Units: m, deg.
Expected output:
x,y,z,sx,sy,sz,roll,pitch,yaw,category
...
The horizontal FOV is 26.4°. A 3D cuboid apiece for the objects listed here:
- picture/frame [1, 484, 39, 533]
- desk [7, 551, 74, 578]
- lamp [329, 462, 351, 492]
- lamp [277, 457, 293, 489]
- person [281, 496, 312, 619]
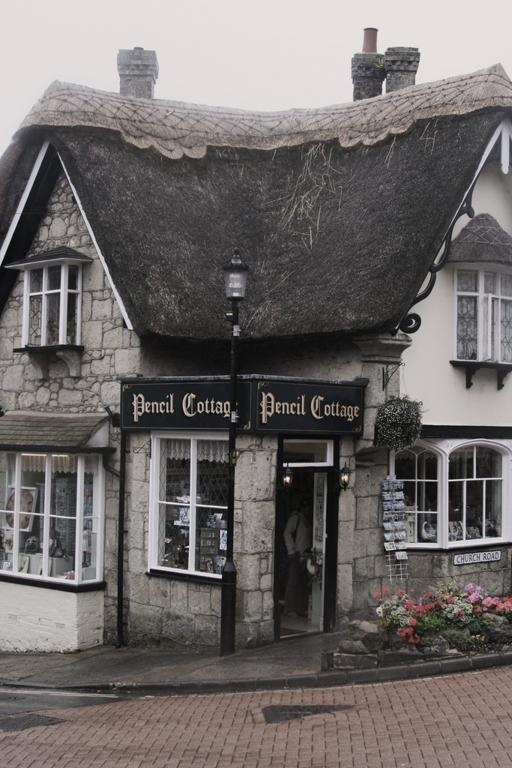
x,y,z,sx,sy,sz,roll,pitch,yaw,category
-3.749,2.028,17.512,0.070,0.673,0.641,13,11,-34,picture/frame
-3.233,2.819,16.838,1.423,0.376,0.216,-5,3,41,desk
1.172,1.284,15.119,0.291,0.466,0.301,4,-8,-34,lamp
0.398,1.187,14.543,0.190,0.371,0.405,-6,2,3,lamp
0.638,2.717,16.482,0.561,1.492,0.415,-7,2,-13,person
